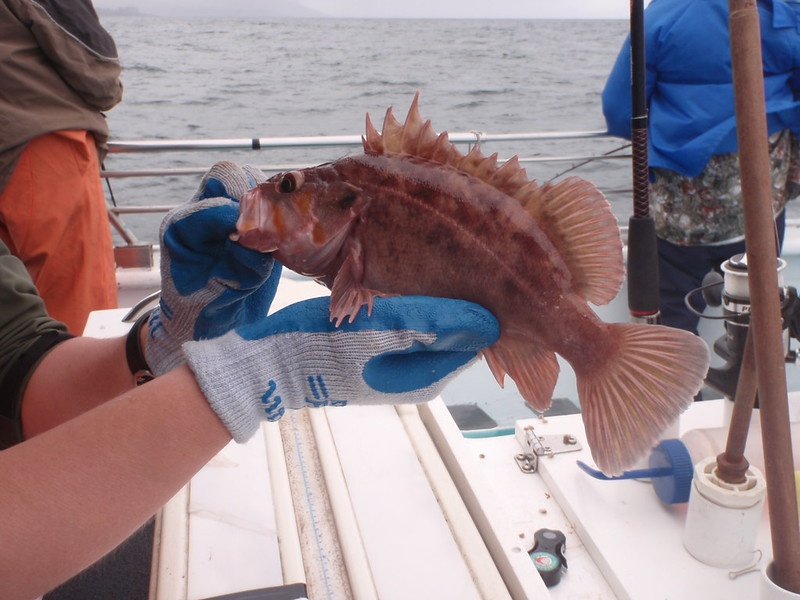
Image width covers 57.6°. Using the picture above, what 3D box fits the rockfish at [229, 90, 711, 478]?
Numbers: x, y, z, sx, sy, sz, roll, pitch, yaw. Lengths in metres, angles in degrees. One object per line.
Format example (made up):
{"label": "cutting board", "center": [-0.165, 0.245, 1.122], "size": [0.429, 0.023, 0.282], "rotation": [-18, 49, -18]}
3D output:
{"label": "rockfish", "center": [0.108, -0.073, 1.443], "size": [1.054, 0.503, 0.194], "rotation": [30, 21, 29]}
